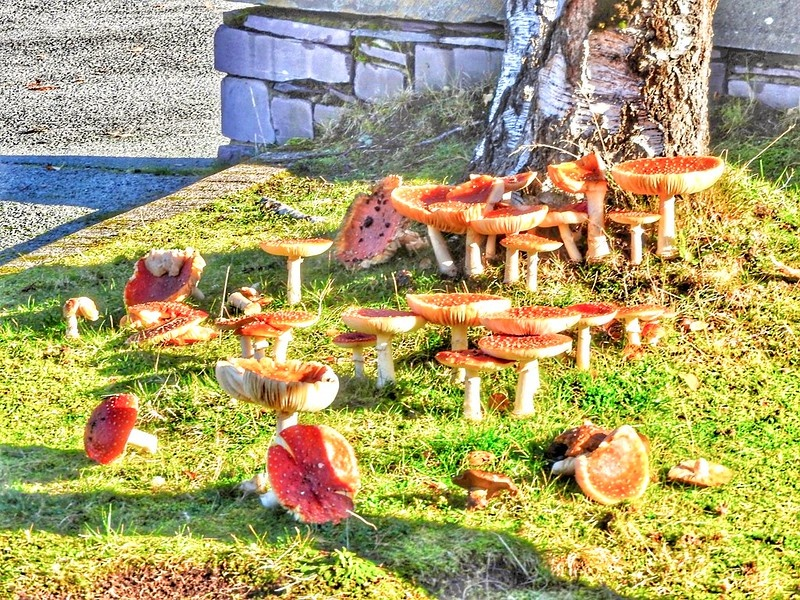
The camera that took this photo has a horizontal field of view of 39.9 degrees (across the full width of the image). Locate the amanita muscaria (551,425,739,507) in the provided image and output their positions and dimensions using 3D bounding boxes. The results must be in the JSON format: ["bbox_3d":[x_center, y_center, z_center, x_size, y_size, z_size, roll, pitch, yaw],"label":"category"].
[{"bbox_3d":[1.436,0.952,6.566,0.823,0.222,0.560,-9,22,0],"label":"amanita muscaria"}]

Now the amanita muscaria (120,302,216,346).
[{"bbox_3d":[-1.673,0.152,7.957,0.437,0.133,0.470,11,10,38],"label":"amanita muscaria"}]

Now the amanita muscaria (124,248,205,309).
[{"bbox_3d":[-1.810,-0.249,8.577,0.419,0.104,0.388,11,-27,-25],"label":"amanita muscaria"}]

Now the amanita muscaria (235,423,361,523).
[{"bbox_3d":[-0.507,1.004,6.571,0.607,0.573,0.552,33,-12,-10],"label":"amanita muscaria"}]

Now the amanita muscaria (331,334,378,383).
[{"bbox_3d":[-0.296,0.394,7.558,0.334,0.289,0.309,1,-6,-16],"label":"amanita muscaria"}]

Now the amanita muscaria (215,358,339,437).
[{"bbox_3d":[-0.700,0.614,6.675,0.635,0.358,0.591,5,-3,-41],"label":"amanita muscaria"}]

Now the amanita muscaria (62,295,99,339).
[{"bbox_3d":[-2.449,0.117,8.339,0.377,0.367,0.249,4,5,-15],"label":"amanita muscaria"}]

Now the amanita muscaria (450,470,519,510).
[{"bbox_3d":[0.493,1.112,6.574,0.276,0.123,0.273,3,-9,40],"label":"amanita muscaria"}]

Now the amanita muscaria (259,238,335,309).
[{"bbox_3d":[-0.825,-0.246,8.463,0.513,0.350,0.423,-1,0,-15],"label":"amanita muscaria"}]

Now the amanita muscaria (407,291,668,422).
[{"bbox_3d":[0.833,0.225,7.169,1.072,0.459,0.979,-11,17,-44],"label":"amanita muscaria"}]

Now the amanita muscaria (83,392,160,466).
[{"bbox_3d":[-1.734,0.782,7.023,0.503,0.408,0.457,13,-2,-35],"label":"amanita muscaria"}]

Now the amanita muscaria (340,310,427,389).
[{"bbox_3d":[-0.117,0.312,7.268,0.599,0.491,0.530,-2,12,-2],"label":"amanita muscaria"}]
